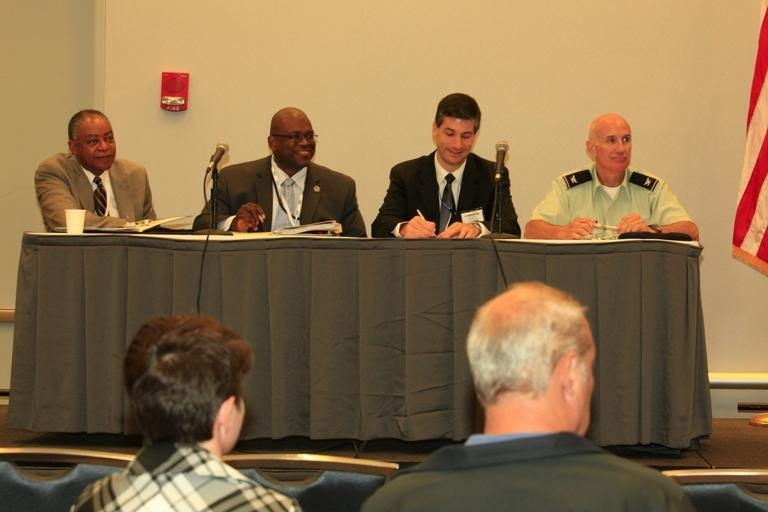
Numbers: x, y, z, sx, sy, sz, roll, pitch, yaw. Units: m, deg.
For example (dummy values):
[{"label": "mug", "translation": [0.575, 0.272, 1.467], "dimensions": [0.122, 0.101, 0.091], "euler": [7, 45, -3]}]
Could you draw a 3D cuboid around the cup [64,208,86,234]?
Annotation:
[{"label": "cup", "translation": [-1.797, -0.196, 4.868], "dimensions": [0.137, 0.154, 0.141], "euler": [1, -1, 0]}]

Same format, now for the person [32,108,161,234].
[{"label": "person", "translation": [-2.052, -0.592, 6.264], "dimensions": [0.788, 1.148, 0.971], "euler": [-4, -1, -36]}]

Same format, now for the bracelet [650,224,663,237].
[{"label": "bracelet", "translation": [1.601, -0.150, 4.963], "dimensions": [0.089, 0.039, 0.127], "euler": [7, 14, 1]}]

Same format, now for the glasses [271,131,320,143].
[{"label": "glasses", "translation": [-0.619, -0.809, 5.768], "dimensions": [0.303, 0.076, 0.112], "euler": [0, 3, -12]}]

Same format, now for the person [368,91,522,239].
[{"label": "person", "translation": [0.396, -0.612, 5.537], "dimensions": [0.914, 0.958, 1.090], "euler": [0, 3, -13]}]

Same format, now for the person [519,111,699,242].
[{"label": "person", "translation": [1.448, -0.538, 5.517], "dimensions": [1.006, 0.835, 0.952], "euler": [3, 4, 35]}]

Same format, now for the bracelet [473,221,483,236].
[{"label": "bracelet", "translation": [0.562, -0.162, 5.089], "dimensions": [0.039, 0.074, 0.054], "euler": [-15, 32, -23]}]
